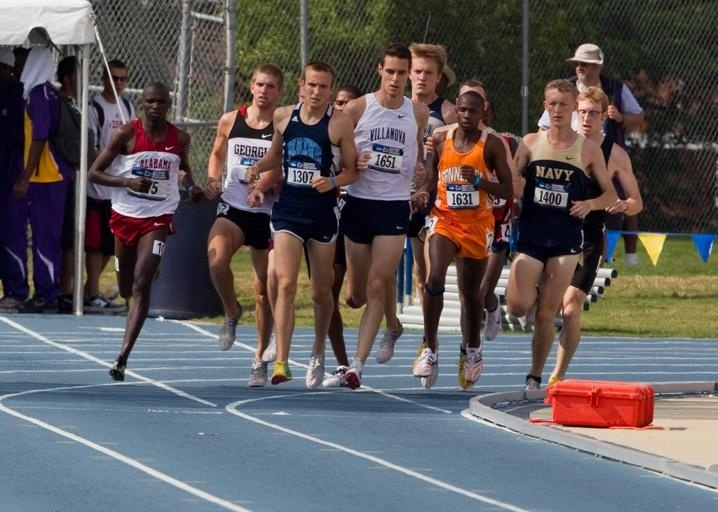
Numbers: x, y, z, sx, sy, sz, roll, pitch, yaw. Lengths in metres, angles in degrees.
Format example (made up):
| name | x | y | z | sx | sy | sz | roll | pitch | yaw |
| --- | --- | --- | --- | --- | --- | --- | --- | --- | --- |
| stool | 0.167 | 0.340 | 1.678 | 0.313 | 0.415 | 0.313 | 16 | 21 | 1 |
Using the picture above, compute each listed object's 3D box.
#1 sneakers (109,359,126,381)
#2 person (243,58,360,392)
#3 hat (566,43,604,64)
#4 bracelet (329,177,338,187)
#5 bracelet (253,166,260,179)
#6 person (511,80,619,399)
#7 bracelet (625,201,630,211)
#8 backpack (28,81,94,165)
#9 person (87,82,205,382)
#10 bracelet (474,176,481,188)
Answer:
| name | x | y | z | sx | sy | sz | roll | pitch | yaw |
| --- | --- | --- | --- | --- | --- | --- | --- | --- | --- |
| sneakers | -1.863 | 0.834 | 8.269 | 0.140 | 0.104 | 0.193 | 10 | 38 | -19 |
| person | -0.377 | -0.223 | 8.478 | 0.694 | 2.592 | 0.660 | 2 | 2 | -6 |
| hat | 2.387 | -2.134 | 11.354 | 0.312 | 0.159 | 0.317 | -2 | 9 | -22 |
| bracelet | -0.191 | -0.574 | 8.211 | 0.043 | 0.061 | 0.058 | -7 | -23 | 1 |
| bracelet | -0.838 | -0.679 | 8.763 | 0.050 | 0.073 | 0.023 | 4 | 11 | 4 |
| person | 1.606 | -0.170 | 8.581 | 0.763 | 2.505 | 0.476 | 3 | 2 | 11 |
| bracelet | 2.181 | -0.412 | 8.664 | 0.015 | 0.044 | 0.037 | 38 | -25 | -23 |
| backpack | -3.459 | -1.520 | 12.350 | 0.465 | 0.875 | 0.652 | -5 | -1 | -29 |
| person | -1.786 | -0.205 | 8.816 | 0.872 | 2.442 | 1.176 | 2 | 2 | -15 |
| bracelet | 0.931 | -0.589 | 8.421 | 0.056 | 0.080 | 0.074 | -1 | 4 | 5 |
